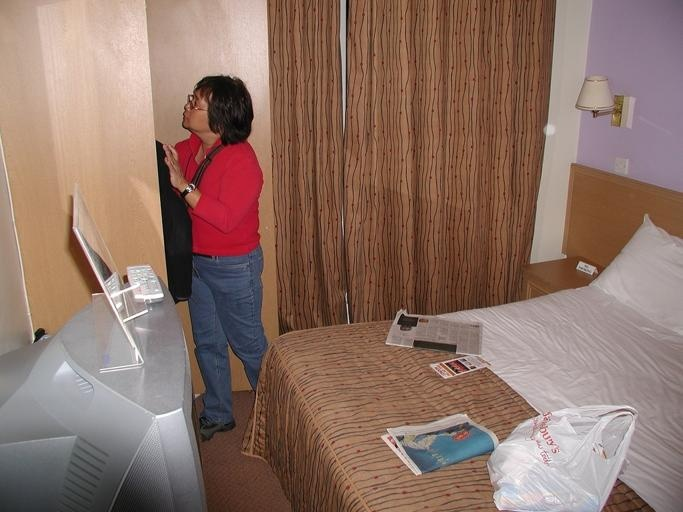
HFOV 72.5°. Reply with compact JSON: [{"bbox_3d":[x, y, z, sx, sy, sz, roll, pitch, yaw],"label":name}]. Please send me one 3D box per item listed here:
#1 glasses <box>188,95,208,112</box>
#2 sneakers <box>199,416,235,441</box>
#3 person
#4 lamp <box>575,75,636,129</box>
[{"bbox_3d":[-0.722,-0.773,2.367,0.088,0.029,0.089,12,20,-34],"label":"glasses"},{"bbox_3d":[-0.764,1.046,2.871,0.189,0.087,0.116,3,5,-32],"label":"sneakers"},{"bbox_3d":[-0.762,0.084,2.696,0.602,1.990,0.605,6,17,12],"label":"person"},{"bbox_3d":[1.702,-0.986,3.027,0.343,0.336,0.216,-11,23,-12],"label":"lamp"}]
